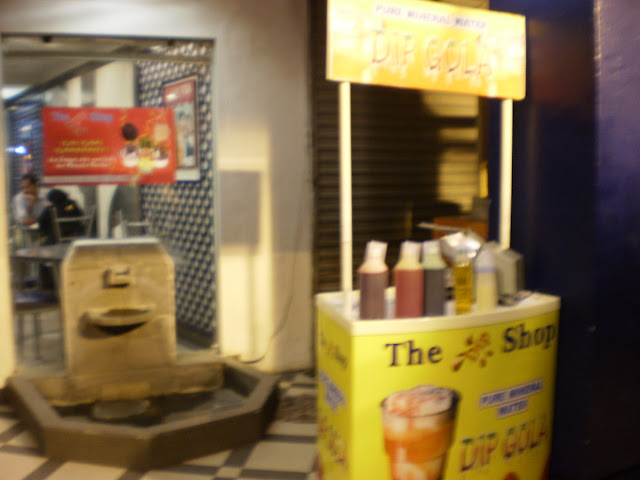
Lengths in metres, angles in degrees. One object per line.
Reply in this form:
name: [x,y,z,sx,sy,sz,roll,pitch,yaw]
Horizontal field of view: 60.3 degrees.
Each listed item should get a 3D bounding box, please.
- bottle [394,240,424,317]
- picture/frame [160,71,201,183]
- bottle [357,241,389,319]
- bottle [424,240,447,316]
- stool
bottle: [0.401,0.174,2.475,0.141,0.319,0.161,4,14,-1]
picture/frame: [-1.260,-1.070,5.191,0.206,0.959,0.692,-1,15,-18]
bottle: [0.242,0.171,2.485,0.136,0.327,0.208,5,14,3]
bottle: [0.515,0.170,2.479,0.121,0.318,0.121,4,14,-1]
stool: [-2.424,0.696,4.702,0.310,0.759,0.856,-4,16,-29]
